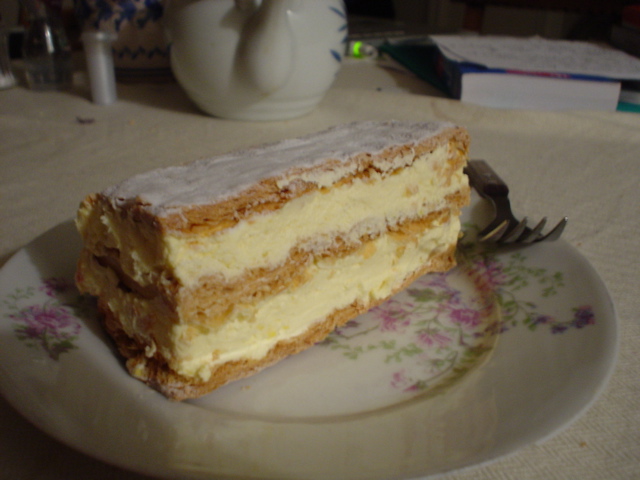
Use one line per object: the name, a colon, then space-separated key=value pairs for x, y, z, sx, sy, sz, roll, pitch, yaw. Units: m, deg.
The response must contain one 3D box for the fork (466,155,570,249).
fork: x=0.428 y=-0.088 z=1.404 sx=0.094 sy=0.068 sz=0.374 roll=-7 pitch=29 yaw=-1
